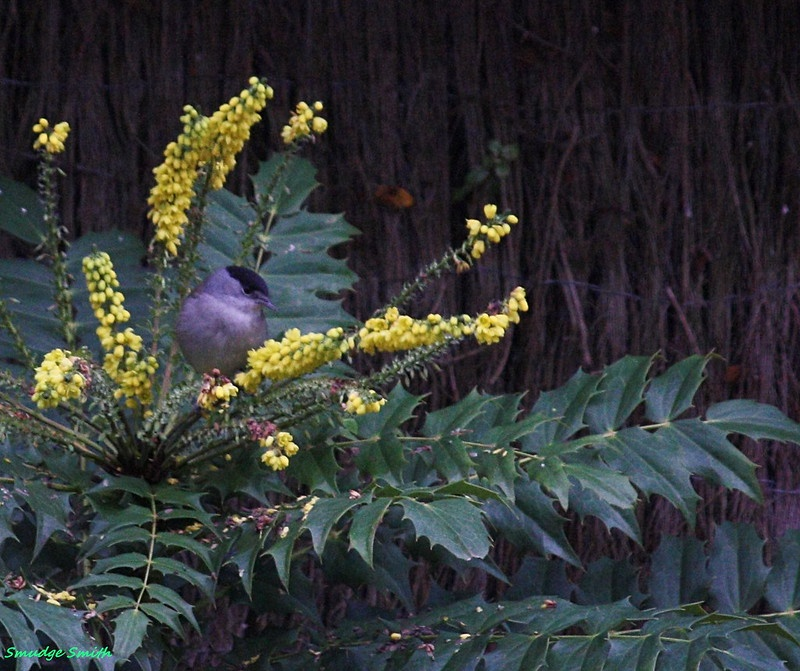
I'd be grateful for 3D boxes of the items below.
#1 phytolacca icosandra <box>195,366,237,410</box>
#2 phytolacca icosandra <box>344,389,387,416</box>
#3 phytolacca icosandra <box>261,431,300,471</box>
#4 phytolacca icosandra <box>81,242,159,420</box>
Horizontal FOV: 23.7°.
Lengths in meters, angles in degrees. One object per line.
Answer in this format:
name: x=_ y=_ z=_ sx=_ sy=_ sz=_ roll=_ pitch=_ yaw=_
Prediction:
phytolacca icosandra: x=-0.372 y=0.110 z=3.841 sx=0.083 sy=0.059 sz=0.083 roll=-36 pitch=6 yaw=7
phytolacca icosandra: x=-0.071 y=0.133 z=3.808 sx=0.053 sy=0.031 sz=0.065 roll=3 pitch=-8 yaw=-29
phytolacca icosandra: x=-0.247 y=0.223 z=3.915 sx=0.084 sy=0.082 sz=0.042 roll=15 pitch=46 yaw=-4
phytolacca icosandra: x=-0.567 y=-0.011 z=3.940 sx=0.163 sy=0.328 sz=0.127 roll=11 pitch=16 yaw=39
